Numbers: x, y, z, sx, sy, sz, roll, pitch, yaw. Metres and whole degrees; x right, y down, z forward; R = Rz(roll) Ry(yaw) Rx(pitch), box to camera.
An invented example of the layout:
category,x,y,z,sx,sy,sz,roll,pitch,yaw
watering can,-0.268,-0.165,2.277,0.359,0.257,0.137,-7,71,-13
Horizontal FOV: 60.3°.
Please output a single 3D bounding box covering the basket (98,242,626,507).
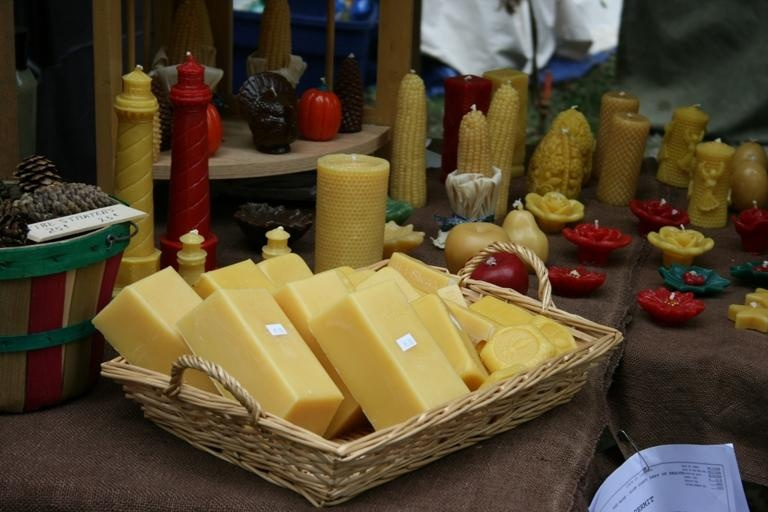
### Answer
category,x,y,z,sx,sy,sz,roll,pitch,yaw
basket,0.043,0.075,0.842,0.445,0.146,0.333,-11,19,-43
